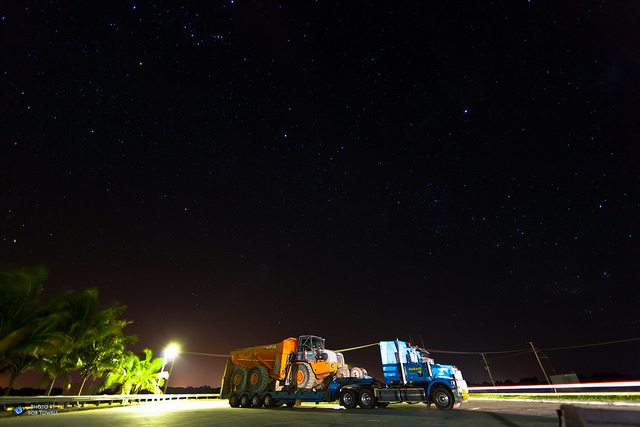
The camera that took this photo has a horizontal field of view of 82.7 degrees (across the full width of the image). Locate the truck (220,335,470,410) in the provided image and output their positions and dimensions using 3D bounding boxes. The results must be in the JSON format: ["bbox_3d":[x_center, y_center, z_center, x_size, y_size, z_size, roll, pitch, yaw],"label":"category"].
[{"bbox_3d":[0.615,12.332,28.029,19.637,5.467,5.616,-14,-38,26],"label":"truck"}]
